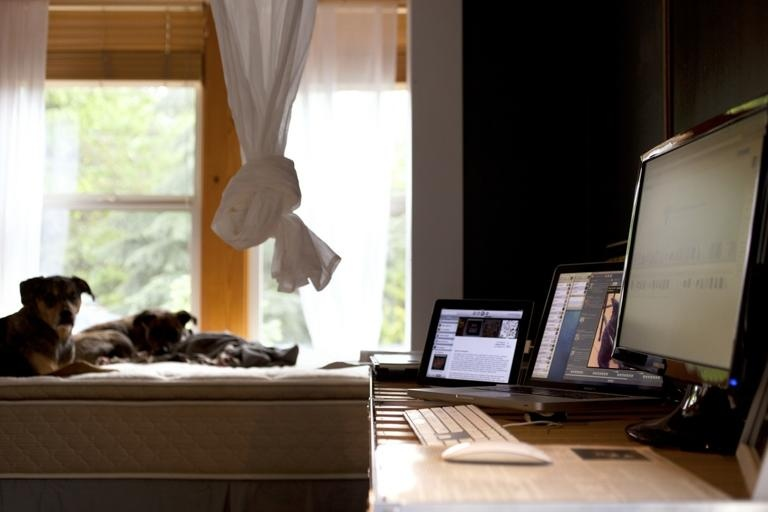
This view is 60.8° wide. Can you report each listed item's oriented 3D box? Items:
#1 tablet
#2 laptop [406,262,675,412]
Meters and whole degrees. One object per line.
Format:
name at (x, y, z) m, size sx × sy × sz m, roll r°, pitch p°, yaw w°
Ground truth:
tablet at (0.203, 0.275, 1.994) m, size 0.322 × 0.282 × 0.420 m, roll 5°, pitch -8°, yaw -42°
laptop at (0.447, 0.235, 1.817) m, size 0.487 × 0.366 × 0.461 m, roll 7°, pitch -8°, yaw -30°
